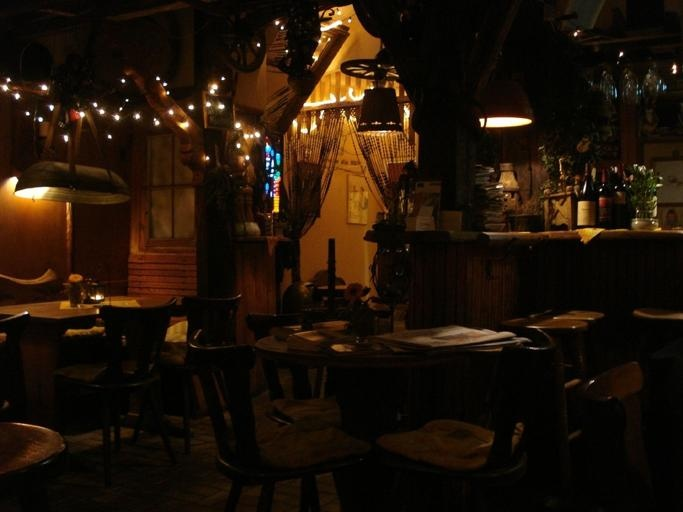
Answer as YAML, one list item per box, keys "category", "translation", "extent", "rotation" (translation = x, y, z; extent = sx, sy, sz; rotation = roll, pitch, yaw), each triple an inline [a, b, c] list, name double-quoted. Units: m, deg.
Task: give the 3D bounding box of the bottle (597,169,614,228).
- category: "bottle"
  translation: [2.415, -0.519, 5.934]
  extent: [0.133, 0.498, 0.327]
  rotation: [-1, 8, 22]

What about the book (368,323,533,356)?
- category: "book"
  translation: [0.656, 0.492, 3.940]
  extent: [0.900, 0.082, 0.492]
  rotation: [-6, 8, -12]
